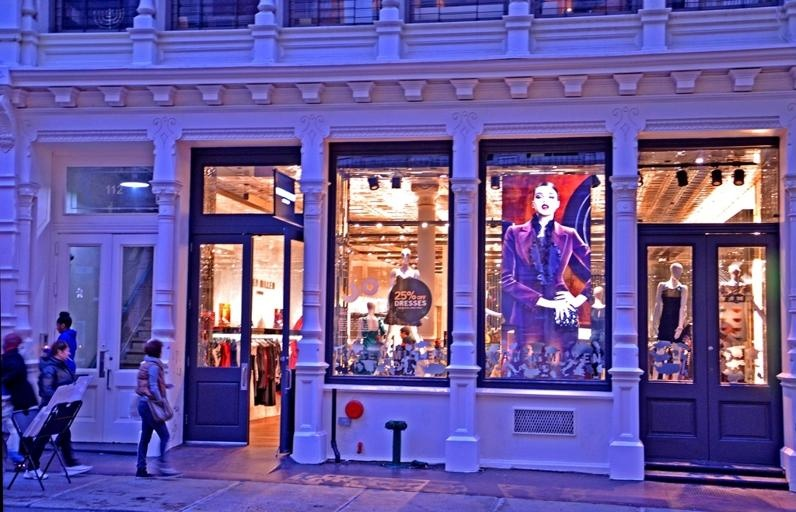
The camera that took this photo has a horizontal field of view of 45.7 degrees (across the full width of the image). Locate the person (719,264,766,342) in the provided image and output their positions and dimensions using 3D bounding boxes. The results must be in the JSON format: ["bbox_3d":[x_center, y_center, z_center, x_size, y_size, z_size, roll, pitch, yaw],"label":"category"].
[{"bbox_3d":[5.358,0.721,14.718,0.643,1.260,0.211,1,6,8],"label":"person"}]

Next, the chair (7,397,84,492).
[{"bbox_3d":[-5.173,2.693,13.812,0.913,1.171,1.013,5,8,39],"label":"chair"}]

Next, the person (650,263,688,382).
[{"bbox_3d":[4.266,1.006,14.826,0.520,1.782,0.370,2,6,14],"label":"person"}]

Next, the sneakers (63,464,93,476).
[{"bbox_3d":[-4.814,3.204,14.211,0.353,0.126,0.129,0,-4,-11],"label":"sneakers"}]

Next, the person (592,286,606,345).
[{"bbox_3d":[3.131,0.936,14.776,0.214,0.926,0.164,2,6,11],"label":"person"}]

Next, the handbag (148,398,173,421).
[{"bbox_3d":[-3.494,2.252,13.854,0.334,0.327,0.113,-2,7,-25],"label":"handbag"}]

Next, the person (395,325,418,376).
[{"bbox_3d":[0.129,1.512,15.130,0.330,0.738,0.170,1,6,1],"label":"person"}]

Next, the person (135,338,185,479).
[{"bbox_3d":[-3.609,2.245,14.003,0.620,2.006,0.438,0,6,-2],"label":"person"}]
